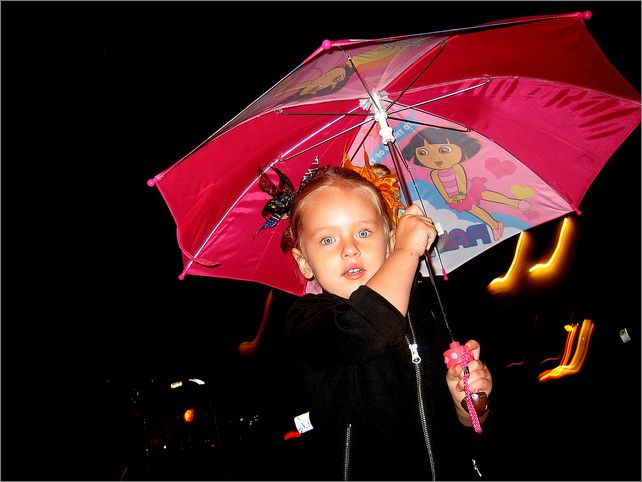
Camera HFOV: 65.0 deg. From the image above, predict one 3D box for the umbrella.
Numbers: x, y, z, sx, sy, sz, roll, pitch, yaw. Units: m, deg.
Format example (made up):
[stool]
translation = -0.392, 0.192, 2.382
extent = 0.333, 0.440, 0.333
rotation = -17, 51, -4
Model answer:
[umbrella]
translation = 0.407, -0.378, 2.664
extent = 1.666, 0.663, 1.727
rotation = -9, -47, -12
